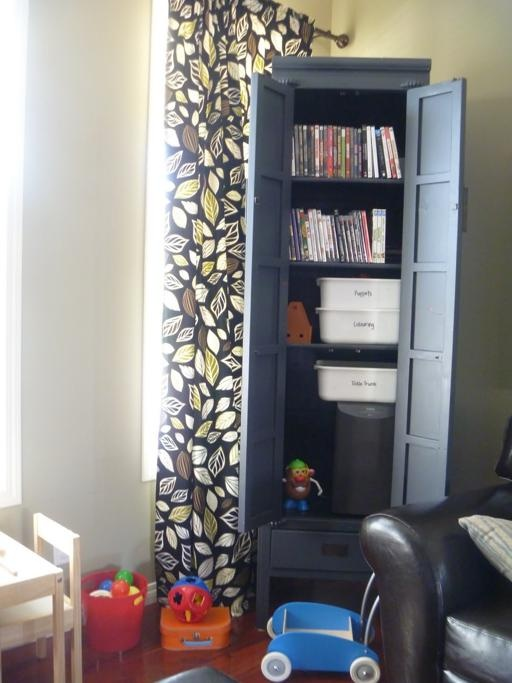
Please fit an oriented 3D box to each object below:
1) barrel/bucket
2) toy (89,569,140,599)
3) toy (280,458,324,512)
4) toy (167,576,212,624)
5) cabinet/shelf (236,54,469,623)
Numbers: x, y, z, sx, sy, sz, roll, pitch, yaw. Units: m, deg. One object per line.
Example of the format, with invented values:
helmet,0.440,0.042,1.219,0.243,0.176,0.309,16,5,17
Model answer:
barrel/bucket,-0.463,0.884,1.894,0.211,0.179,0.196,2,1,0
toy,-0.474,0.813,1.899,0.105,0.064,0.104,1,-13,-18
toy,0.162,0.548,2.171,0.177,0.192,0.106,3,2,3
toy,-0.221,0.865,1.898,0.125,0.128,0.137,3,-7,1
cabinet/shelf,0.322,0.044,2.131,0.683,2.055,0.531,2,6,4
